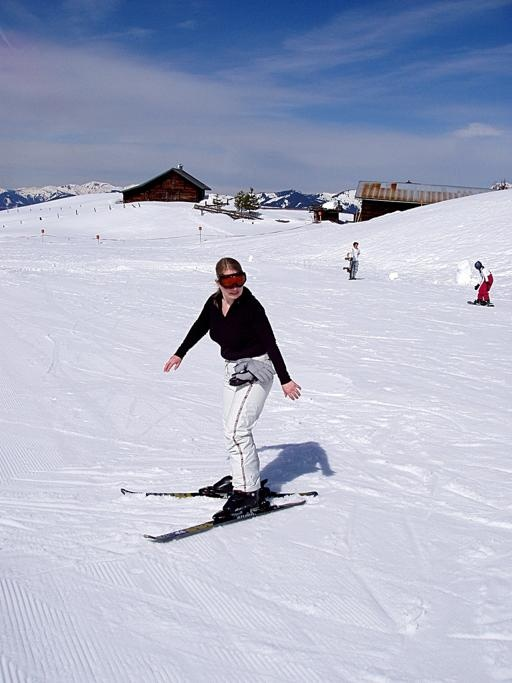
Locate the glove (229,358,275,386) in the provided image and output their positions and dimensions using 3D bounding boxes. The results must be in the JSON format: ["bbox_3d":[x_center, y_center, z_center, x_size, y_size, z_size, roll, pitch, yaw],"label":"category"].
[{"bbox_3d":[-0.034,0.225,4.730,0.342,0.231,0.183,3,10,-2],"label":"glove"}]

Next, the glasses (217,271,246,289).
[{"bbox_3d":[-0.177,-0.437,4.496,0.195,0.122,0.198,3,9,-4],"label":"glasses"}]

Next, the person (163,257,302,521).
[{"bbox_3d":[-0.138,0.346,4.760,0.998,1.929,0.567,14,14,43],"label":"person"}]
